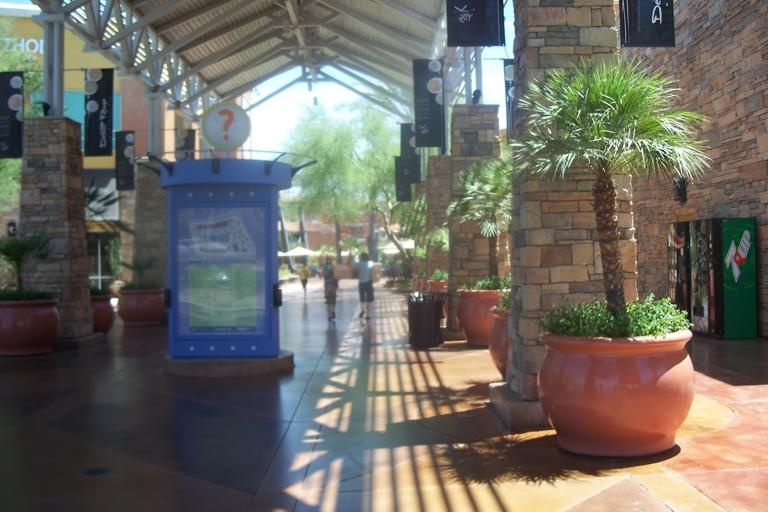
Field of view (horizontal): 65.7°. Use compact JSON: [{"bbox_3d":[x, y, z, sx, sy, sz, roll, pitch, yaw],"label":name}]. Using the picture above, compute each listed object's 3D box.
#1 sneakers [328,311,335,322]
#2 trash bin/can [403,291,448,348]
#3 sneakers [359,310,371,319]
[{"bbox_3d":[-1.386,1.606,15.621,0.148,0.283,0.246,-2,5,-15],"label":"sneakers"},{"bbox_3d":[0.871,1.331,12.596,0.920,1.374,1.001,-1,-4,9],"label":"trash bin/can"},{"bbox_3d":[-0.607,1.703,17.024,0.163,0.198,0.467,-3,-12,-5],"label":"sneakers"}]
